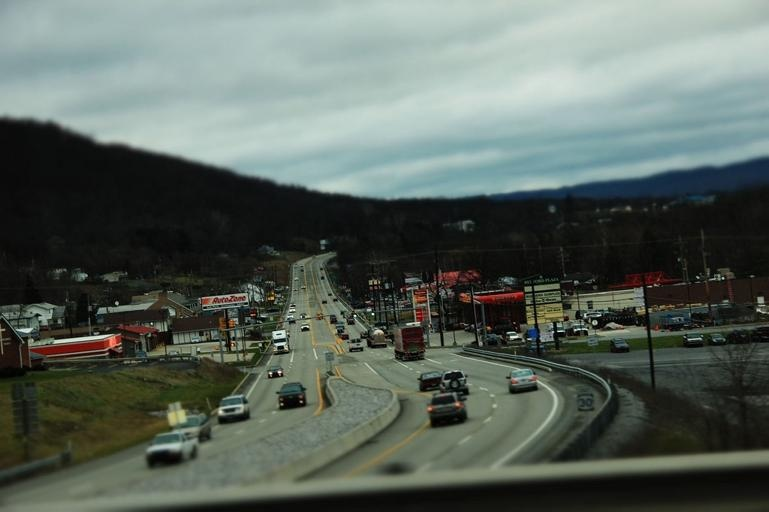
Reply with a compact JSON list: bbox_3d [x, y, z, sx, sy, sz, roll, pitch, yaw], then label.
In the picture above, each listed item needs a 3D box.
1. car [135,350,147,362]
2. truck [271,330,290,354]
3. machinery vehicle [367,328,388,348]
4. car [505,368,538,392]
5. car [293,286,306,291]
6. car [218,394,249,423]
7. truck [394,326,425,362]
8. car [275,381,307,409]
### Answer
[{"bbox_3d":[-36.045,14.711,136.692,1.587,1.651,2.910,0,2,8],"label":"car"},{"bbox_3d":[-16.039,13.142,141.831,2.195,2.041,3.827,-2,-6,-3],"label":"truck"},{"bbox_3d":[-1.140,12.995,144.076,2.159,1.916,3.732,0,-4,-9],"label":"machinery vehicle"},{"bbox_3d":[12.280,11.143,82.777,2.461,1.683,1.708,-7,-4,6],"label":"car"},{"bbox_3d":[-19.980,7.633,218.008,0.983,0.711,3.154,-11,-6,44],"label":"car"},{"bbox_3d":[-14.014,14.102,85.760,2.750,1.498,2.379,-3,-6,-39],"label":"car"},{"bbox_3d":[3.236,11.131,119.693,3.451,4.125,5.661,-3,0,-13],"label":"truck"},{"bbox_3d":[-9.012,13.491,90.934,1.650,1.455,3.394,0,7,-3],"label":"car"}]
